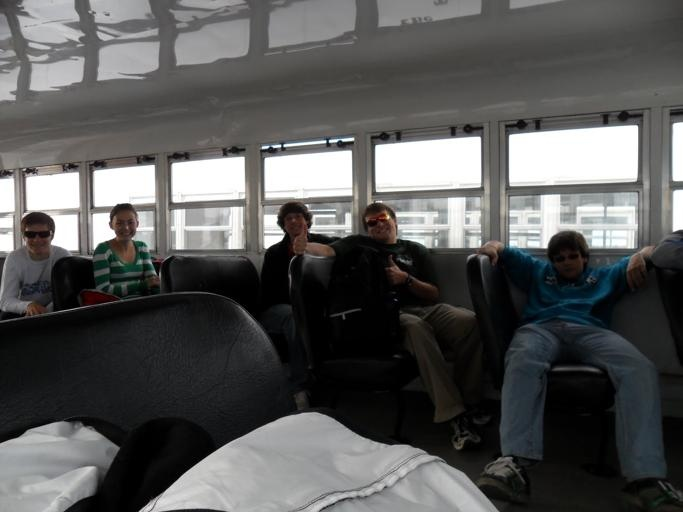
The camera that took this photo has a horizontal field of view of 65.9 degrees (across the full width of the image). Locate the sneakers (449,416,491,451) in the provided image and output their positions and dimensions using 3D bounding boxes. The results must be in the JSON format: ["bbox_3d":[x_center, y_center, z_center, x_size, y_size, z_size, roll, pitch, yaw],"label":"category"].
[{"bbox_3d":[0.723,0.995,2.995,0.102,0.144,0.310,1,-15,-2],"label":"sneakers"}]

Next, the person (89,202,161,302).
[{"bbox_3d":[-1.656,-0.020,4.069,0.460,0.783,0.468,-8,-5,41],"label":"person"}]

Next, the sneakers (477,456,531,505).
[{"bbox_3d":[0.727,0.985,2.341,0.303,0.151,0.146,27,-31,-28],"label":"sneakers"}]
